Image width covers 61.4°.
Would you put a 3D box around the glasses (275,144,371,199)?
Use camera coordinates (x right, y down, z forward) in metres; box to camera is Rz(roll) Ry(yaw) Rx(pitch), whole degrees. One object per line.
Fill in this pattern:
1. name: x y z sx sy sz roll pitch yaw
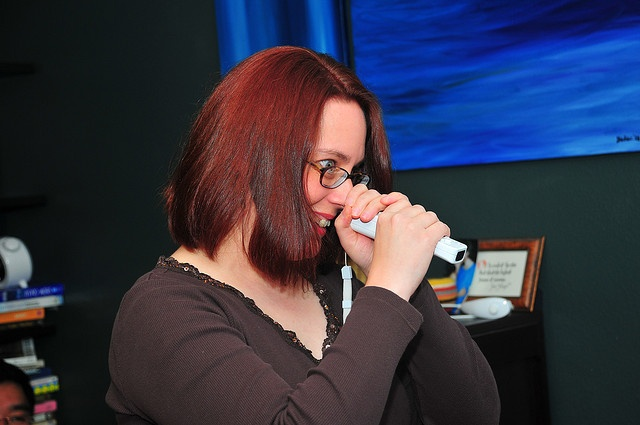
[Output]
1. glasses: 0.019 -0.120 1.578 0.167 0.054 0.163 -16 -20 42

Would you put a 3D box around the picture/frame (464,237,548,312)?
1. picture/frame: 0.773 0.263 2.198 0.313 0.316 0.023 -3 -22 32
